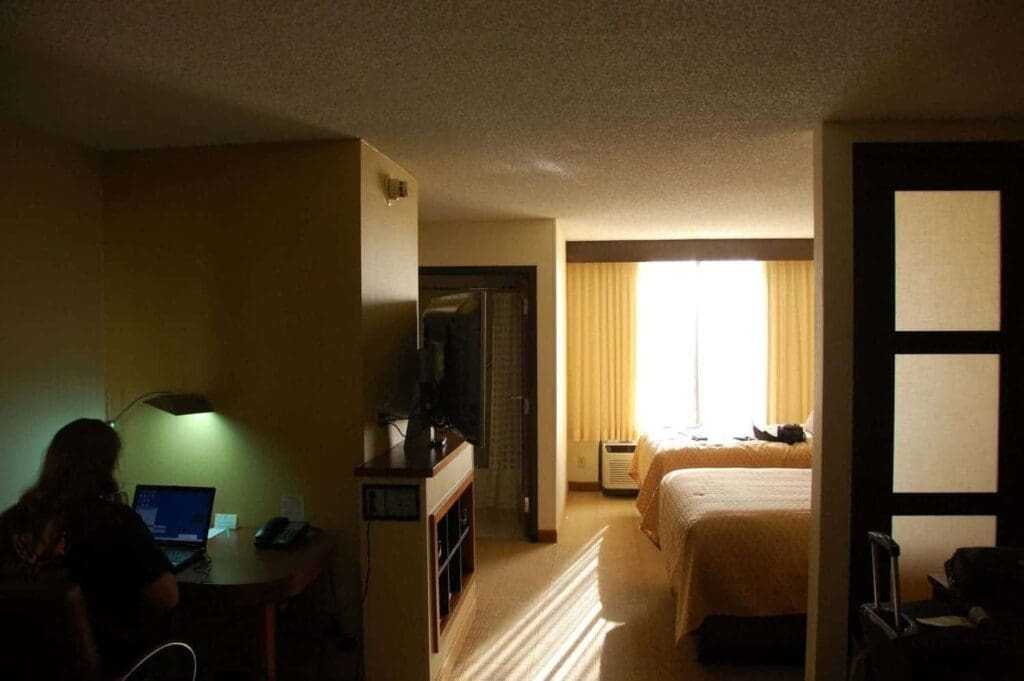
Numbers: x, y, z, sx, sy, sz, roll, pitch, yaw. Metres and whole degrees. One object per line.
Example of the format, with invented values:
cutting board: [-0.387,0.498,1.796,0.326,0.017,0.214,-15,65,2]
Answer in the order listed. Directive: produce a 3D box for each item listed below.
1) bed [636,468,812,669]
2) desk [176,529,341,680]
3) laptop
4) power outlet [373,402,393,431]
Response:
bed: [1.376,1.402,5.141,1.020,0.435,1.030,-1,3,6]
desk: [-1.350,1.459,4.502,0.739,0.671,0.903,0,4,4]
laptop: [-1.870,1.048,4.468,0.447,0.285,0.404,1,0,2]
power outlet: [-0.800,0.462,4.923,0.035,0.130,0.130,-4,-2,12]
